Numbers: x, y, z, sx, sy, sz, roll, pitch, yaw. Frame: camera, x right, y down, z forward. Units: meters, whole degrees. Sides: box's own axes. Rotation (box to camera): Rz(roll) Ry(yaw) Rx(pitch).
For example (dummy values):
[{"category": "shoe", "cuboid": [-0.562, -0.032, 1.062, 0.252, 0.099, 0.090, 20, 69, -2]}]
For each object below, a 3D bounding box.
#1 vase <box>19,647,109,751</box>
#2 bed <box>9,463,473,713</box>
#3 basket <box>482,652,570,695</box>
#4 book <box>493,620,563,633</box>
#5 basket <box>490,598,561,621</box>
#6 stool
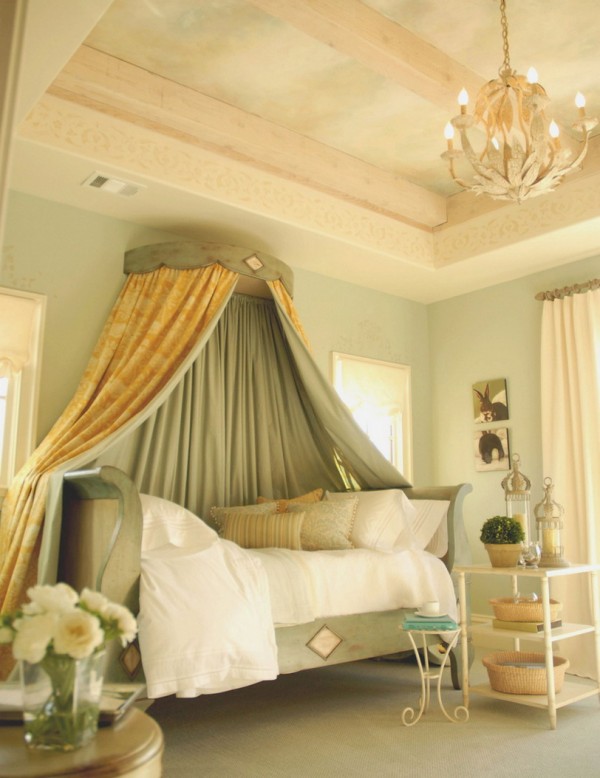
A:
[{"category": "vase", "cuboid": [-0.420, 0.550, 1.127, 0.157, 0.147, 0.151, 13, -28, -33]}, {"category": "bed", "cuboid": [-0.009, 0.885, 2.951, 1.745, 0.723, 1.174, 3, -5, -37]}, {"category": "basket", "cuboid": [1.041, 1.314, 2.942, 0.365, 0.138, 0.417, -7, -15, 29]}, {"category": "book", "cuboid": [1.026, 1.065, 2.844, 0.116, 0.026, 0.114, 7, -10, -43]}, {"category": "basket", "cuboid": [1.046, 1.019, 2.920, 0.237, 0.075, 0.201, -1, -15, 0]}, {"category": "stool", "cuboid": [0.571, 1.284, 2.879, 0.332, 0.434, 0.335, 7, -17, -13]}]
